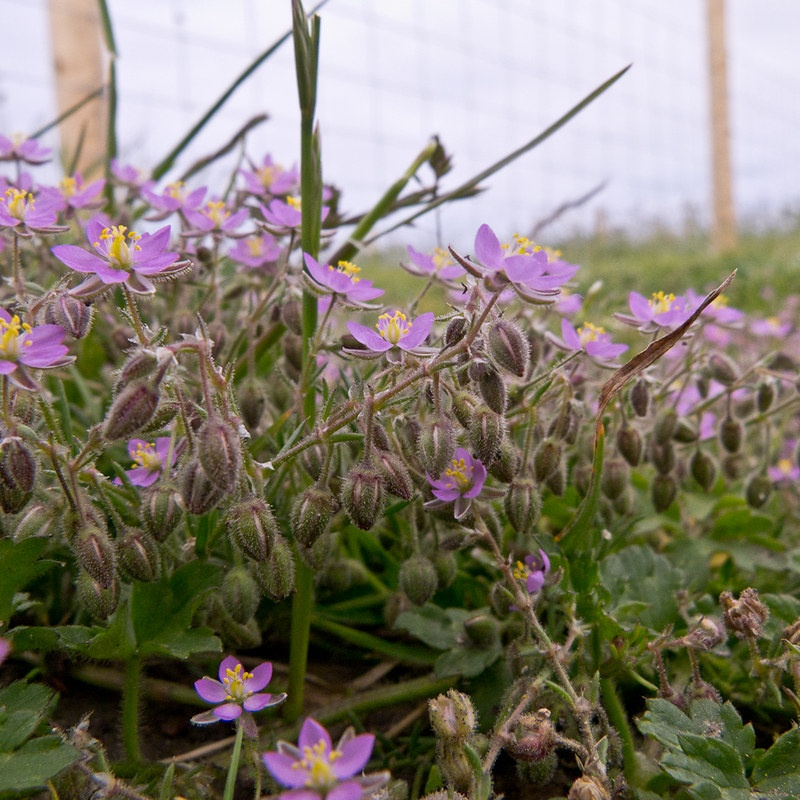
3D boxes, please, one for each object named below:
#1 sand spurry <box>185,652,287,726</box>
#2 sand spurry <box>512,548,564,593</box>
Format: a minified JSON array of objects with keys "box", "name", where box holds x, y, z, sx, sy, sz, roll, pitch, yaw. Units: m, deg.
[{"box":[-0.269,0.482,1.565,0.138,0.116,0.185,8,6,-12],"name":"sand spurry"},{"box":[0.244,0.303,1.713,0.066,0.040,0.085,-22,31,18],"name":"sand spurry"}]
